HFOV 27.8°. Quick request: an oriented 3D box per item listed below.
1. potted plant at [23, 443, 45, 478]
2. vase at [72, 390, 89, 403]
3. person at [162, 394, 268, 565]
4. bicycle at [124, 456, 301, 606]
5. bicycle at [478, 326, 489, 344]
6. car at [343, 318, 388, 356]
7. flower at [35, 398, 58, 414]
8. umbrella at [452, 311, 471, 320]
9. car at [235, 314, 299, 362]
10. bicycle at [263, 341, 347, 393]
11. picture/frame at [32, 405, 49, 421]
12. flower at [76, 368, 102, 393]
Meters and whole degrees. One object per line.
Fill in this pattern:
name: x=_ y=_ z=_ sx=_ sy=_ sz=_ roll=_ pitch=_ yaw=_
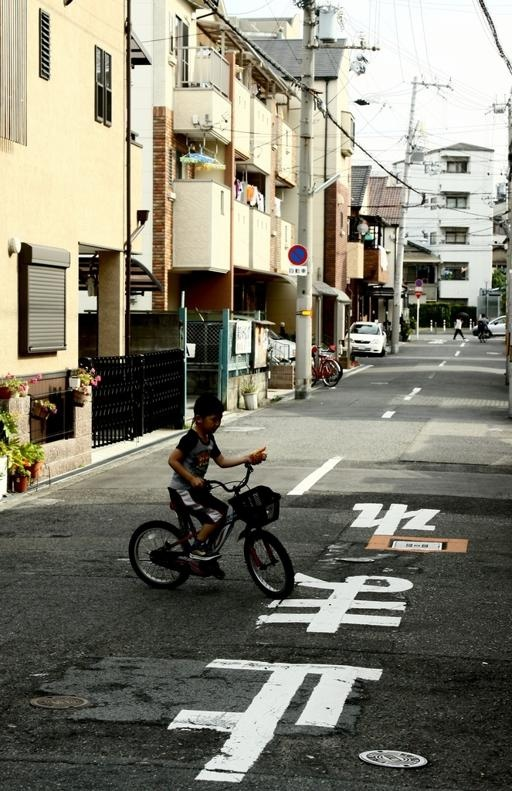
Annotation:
potted plant: x=-2.513 y=0.731 z=11.714 sx=0.330 sy=0.384 sz=0.326 roll=0 pitch=-8 yaw=6
vase: x=-2.312 y=0.021 z=13.640 sx=0.196 sy=0.215 sz=0.153 roll=1 pitch=-7 yaw=0
person: x=-0.290 y=0.530 z=6.770 sx=0.566 sy=1.064 sz=0.481 roll=0 pitch=3 yaw=-6
bicycle: x=-0.212 y=0.900 z=7.154 sx=1.238 sy=0.906 sz=0.658 roll=0 pitch=10 yaw=26
bicycle: x=14.521 y=-3.913 z=66.017 sx=0.338 sy=0.972 sz=0.923 roll=3 pitch=-4 yaw=12
car: x=5.250 y=-2.611 z=48.404 sx=1.235 sy=1.164 sz=2.833 roll=3 pitch=15 yaw=10
flower: x=-2.496 y=0.129 z=12.128 sx=0.156 sy=0.201 sz=0.226 roll=-23 pitch=-17 yaw=32
umbrella: x=17.649 y=-6.930 z=89.379 sx=1.500 sy=0.830 sz=3.232 roll=1 pitch=3 yaw=13
car: x=0.855 y=-1.884 z=33.984 sx=1.904 sy=1.223 sz=1.192 roll=0 pitch=9 yaw=11
bicycle: x=1.441 y=-0.854 z=31.527 sx=2.248 sy=1.391 sz=1.414 roll=-2 pitch=5 yaw=12
picture/frame: x=-2.538 y=0.197 z=12.156 sx=0.184 sy=0.181 sz=0.288 roll=0 pitch=3 yaw=-8
flower: x=-2.278 y=-0.195 z=13.940 sx=0.268 sy=0.214 sz=0.289 roll=12 pitch=21 yaw=28
